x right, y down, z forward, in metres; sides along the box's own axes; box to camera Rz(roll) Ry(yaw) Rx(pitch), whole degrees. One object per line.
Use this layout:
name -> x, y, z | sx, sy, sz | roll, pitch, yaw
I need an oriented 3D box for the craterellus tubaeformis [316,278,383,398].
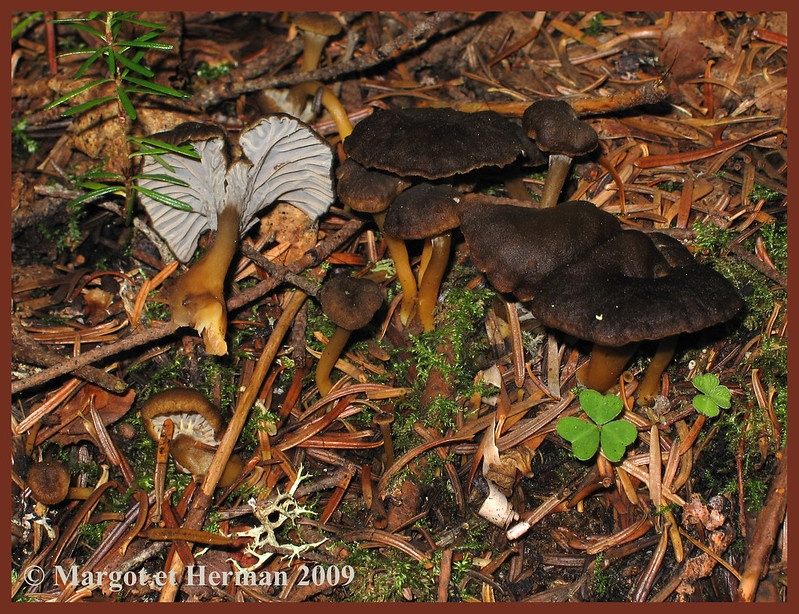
craterellus tubaeformis -> -0.427, 0.308, 5.424 | 0.385, 0.761, 0.390 | 7, 28, -19
